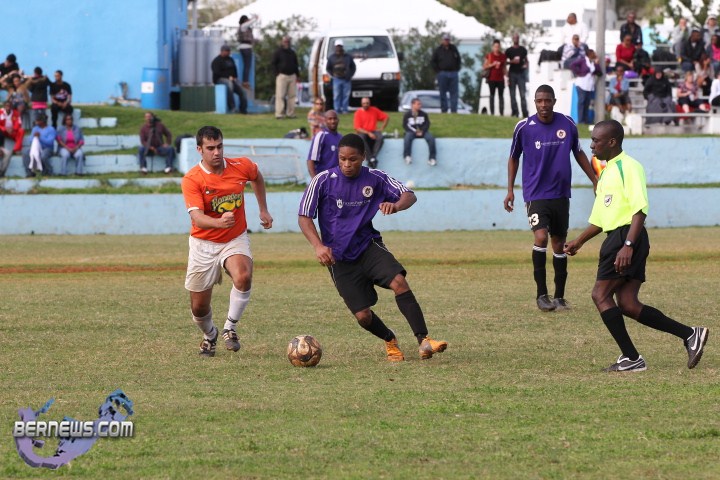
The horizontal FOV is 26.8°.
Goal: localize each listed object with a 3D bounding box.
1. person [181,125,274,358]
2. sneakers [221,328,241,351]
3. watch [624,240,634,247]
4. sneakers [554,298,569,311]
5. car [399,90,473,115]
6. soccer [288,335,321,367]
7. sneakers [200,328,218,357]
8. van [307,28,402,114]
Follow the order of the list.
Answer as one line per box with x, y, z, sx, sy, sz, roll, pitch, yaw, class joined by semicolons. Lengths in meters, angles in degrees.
-2.282;-0.034;25.320;0.941;3.799;1.221;4;9;39;person
-2.179;1.664;25.259;0.224;0.179;0.403;-5;38;-15;sneakers
4.323;0.035;23.943;0.091;0.103;0.113;9;14;23;watch
3.663;1.133;27.165;0.162;0.105;0.283;1;-6;-20;sneakers
1.851;-4.055;43.849;1.026;0.645;2.059;0;1;-11;car
-0.871;1.801;24.778;0.540;0.477;0.492;4;29;11;soccer
-2.539;1.715;25.212;0.208;0.526;0.239;7;-6;10;sneakers
-0.197;-4.729;41.089;1.742;1.313;2.682;-1;4;-10;van
